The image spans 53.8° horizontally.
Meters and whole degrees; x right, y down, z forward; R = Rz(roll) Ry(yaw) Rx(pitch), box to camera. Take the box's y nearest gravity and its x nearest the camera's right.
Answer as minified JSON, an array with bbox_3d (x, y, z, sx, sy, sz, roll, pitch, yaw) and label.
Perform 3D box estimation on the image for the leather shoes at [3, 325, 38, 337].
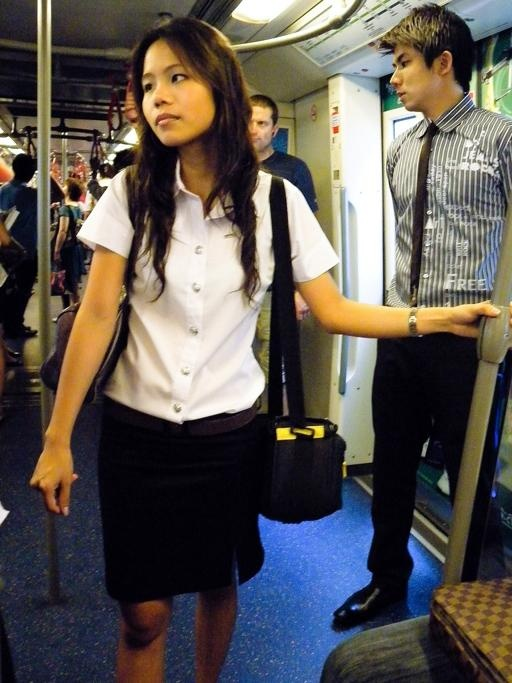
[{"bbox_3d":[-1.461,-0.059,3.159,0.199,0.095,0.075,-2,5,-14],"label":"leather shoes"}]

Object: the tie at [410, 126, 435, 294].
[{"bbox_3d":[0.588,-0.440,1.790,0.064,0.606,0.084,0,2,33],"label":"tie"}]

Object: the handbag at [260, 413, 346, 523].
[{"bbox_3d":[0.097,0.253,1.056,0.132,0.189,0.167,4,0,-17],"label":"handbag"}]

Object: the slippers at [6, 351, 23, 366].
[{"bbox_3d":[-1.673,0.124,3.468,0.075,0.091,0.236,0,-4,-8],"label":"slippers"}]

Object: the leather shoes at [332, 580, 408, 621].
[{"bbox_3d":[0.426,1.014,1.921,0.090,0.227,0.132,42,41,0],"label":"leather shoes"}]
